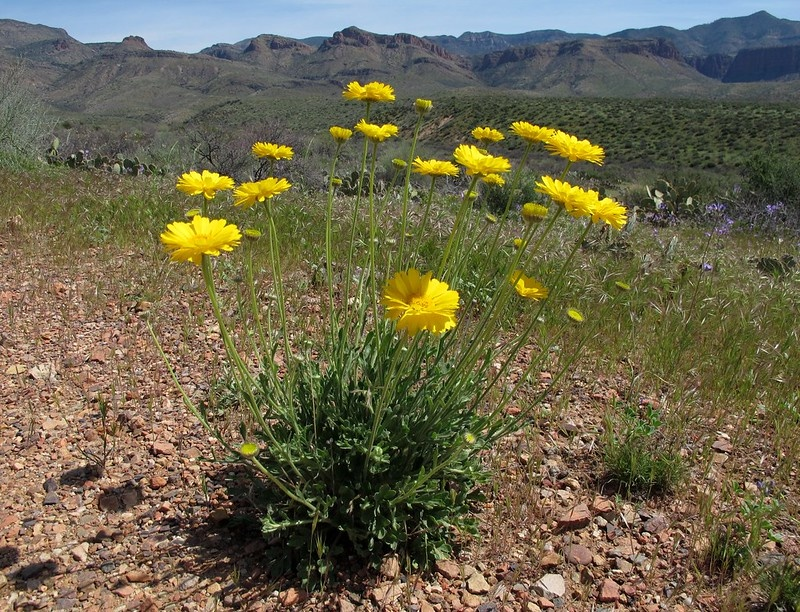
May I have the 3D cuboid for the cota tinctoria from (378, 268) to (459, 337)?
[{"bbox_3d":[0.085,0.018,2.269,0.266,0.115,0.272,-29,64,-24],"label":"cota tinctoria"}]

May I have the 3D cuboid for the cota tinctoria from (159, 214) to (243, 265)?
[{"bbox_3d":[-0.838,-0.253,2.330,0.298,0.208,0.334,3,22,-14],"label":"cota tinctoria"}]

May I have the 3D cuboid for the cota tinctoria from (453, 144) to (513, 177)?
[{"bbox_3d":[0.401,-0.700,2.725,0.209,0.111,0.199,31,18,34],"label":"cota tinctoria"}]

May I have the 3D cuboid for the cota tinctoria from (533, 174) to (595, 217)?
[{"bbox_3d":[0.741,-0.470,2.468,0.244,0.169,0.317,17,23,22],"label":"cota tinctoria"}]

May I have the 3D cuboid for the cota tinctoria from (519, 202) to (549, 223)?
[{"bbox_3d":[0.624,-0.427,2.606,0.114,0.124,0.115,19,26,40],"label":"cota tinctoria"}]

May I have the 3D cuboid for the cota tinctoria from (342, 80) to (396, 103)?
[{"bbox_3d":[-0.188,-1.195,3.128,0.269,0.128,0.416,5,22,-8],"label":"cota tinctoria"}]
